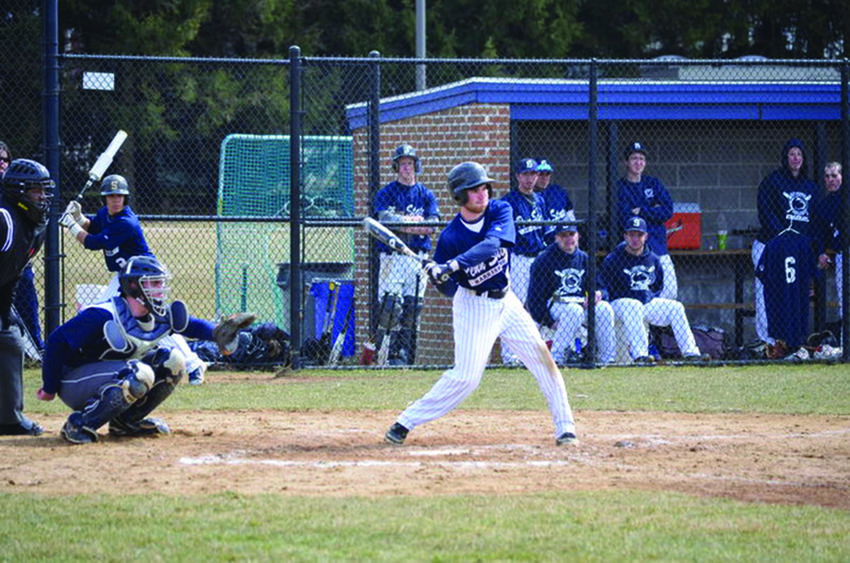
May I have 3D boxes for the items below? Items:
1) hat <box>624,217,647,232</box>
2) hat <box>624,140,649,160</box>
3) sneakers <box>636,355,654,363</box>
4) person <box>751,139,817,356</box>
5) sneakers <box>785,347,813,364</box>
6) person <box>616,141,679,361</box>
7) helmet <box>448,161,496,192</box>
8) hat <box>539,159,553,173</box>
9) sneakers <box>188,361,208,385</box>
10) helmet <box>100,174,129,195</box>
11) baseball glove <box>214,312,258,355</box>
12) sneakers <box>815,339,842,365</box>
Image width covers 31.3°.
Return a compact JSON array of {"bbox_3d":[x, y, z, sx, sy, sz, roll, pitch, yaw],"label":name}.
[{"bbox_3d":[2.868,-0.785,20.555,0.297,0.207,0.378,0,2,5],"label":"hat"},{"bbox_3d":[2.907,-1.851,21.023,0.225,0.320,0.340,10,8,25],"label":"hat"},{"bbox_3d":[2.948,1.048,20.277,0.266,0.097,0.167,0,2,2],"label":"sneakers"},{"bbox_3d":[5.005,-0.470,20.991,0.837,2.951,0.619,0,2,14],"label":"person"},{"bbox_3d":[5.076,1.011,20.467,0.338,0.130,0.192,3,-5,-32],"label":"sneakers"},{"bbox_3d":[3.065,-0.564,21.113,0.800,2.573,0.750,-6,8,4],"label":"person"},{"bbox_3d":[0.512,-1.140,16.634,0.433,0.262,0.303,-8,9,12],"label":"helmet"},{"bbox_3d":[1.689,-1.619,21.196,0.313,0.157,0.440,0,5,1],"label":"hat"},{"bbox_3d":[-2.565,1.027,17.184,0.150,0.178,0.446,-35,15,10],"label":"sneakers"},{"bbox_3d":[-3.776,-1.164,18.357,0.308,0.251,0.368,-1,2,-13],"label":"helmet"},{"bbox_3d":[-2.133,0.561,16.892,0.277,0.605,0.282,23,-24,26],"label":"baseball glove"},{"bbox_3d":[5.486,0.958,20.520,0.247,0.138,0.352,-7,7,32],"label":"sneakers"}]
